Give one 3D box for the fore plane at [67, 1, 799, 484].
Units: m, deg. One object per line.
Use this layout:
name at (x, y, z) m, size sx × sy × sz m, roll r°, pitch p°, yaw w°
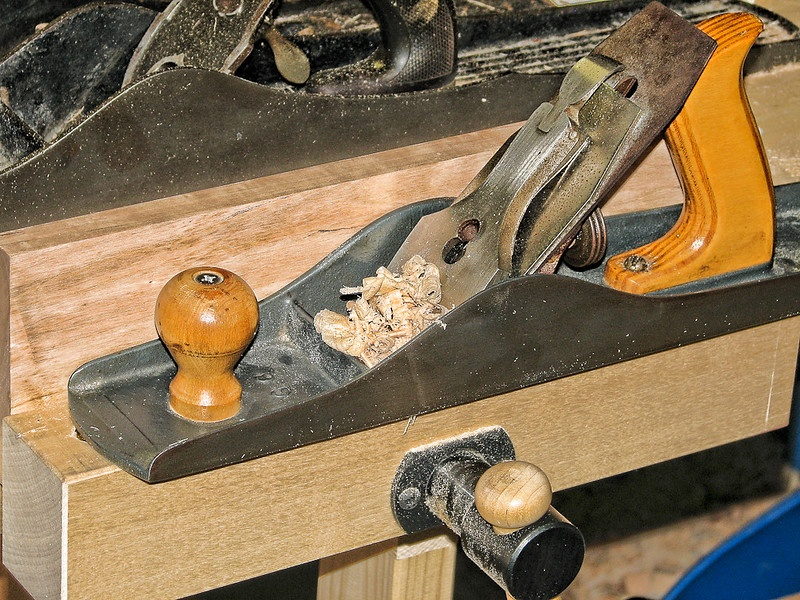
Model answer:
fore plane at (0.276, -0.084, 1.496) m, size 1.533 × 0.596 × 0.397 m, roll -12°, pitch 48°, yaw -18°
